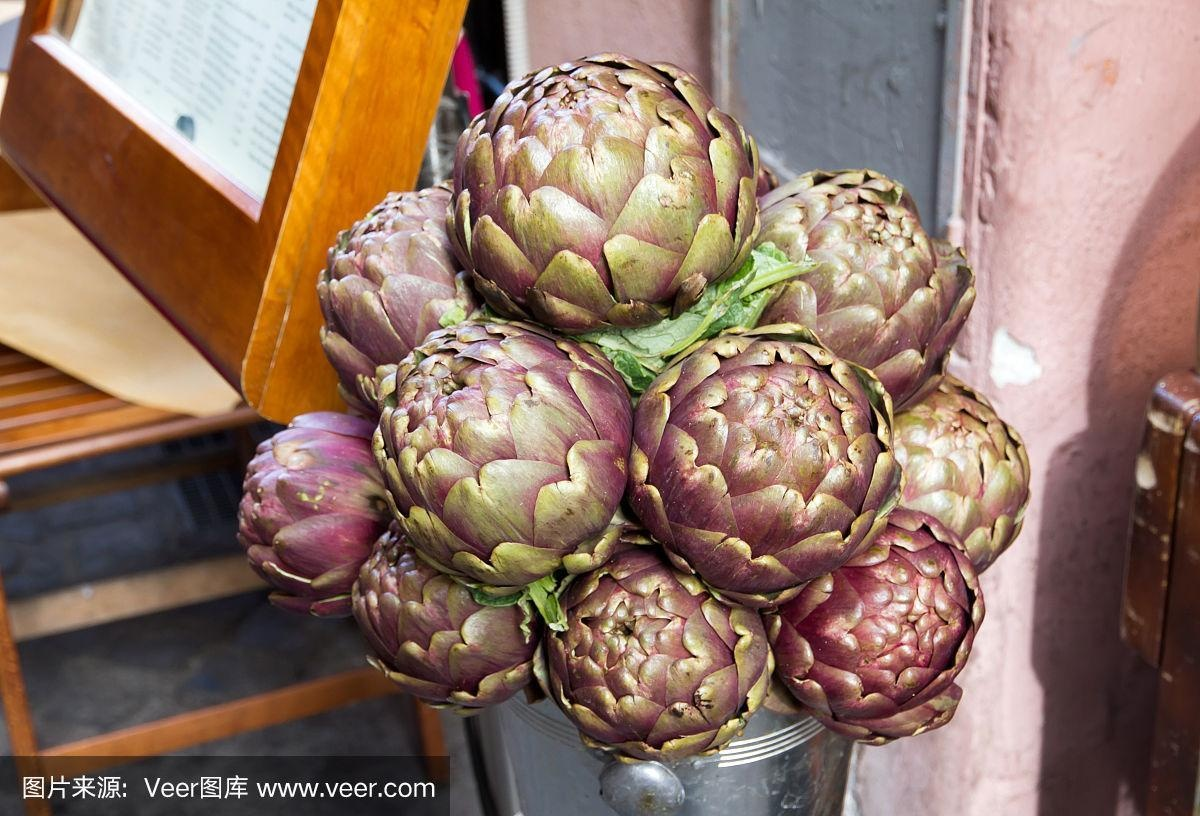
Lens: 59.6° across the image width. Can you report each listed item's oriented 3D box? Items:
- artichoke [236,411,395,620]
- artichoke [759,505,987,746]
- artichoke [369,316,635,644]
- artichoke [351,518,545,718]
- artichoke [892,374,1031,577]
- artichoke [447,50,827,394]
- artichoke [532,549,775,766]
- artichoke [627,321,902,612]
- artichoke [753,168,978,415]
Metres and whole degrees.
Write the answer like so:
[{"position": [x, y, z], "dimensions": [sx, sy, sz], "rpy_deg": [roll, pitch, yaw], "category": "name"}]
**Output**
[{"position": [-0.301, 0.093, 0.975], "dimensions": [0.196, 0.107, 0.125], "rpy_deg": [5, 51, -24], "category": "artichoke"}, {"position": [0.233, 0.191, 0.958], "dimensions": [0.164, 0.201, 0.178], "rpy_deg": [16, 19, 2], "category": "artichoke"}, {"position": [-0.055, 0.049, 0.890], "dimensions": [0.175, 0.210, 0.232], "rpy_deg": [-20, 79, 8], "category": "artichoke"}, {"position": [-0.126, 0.163, 0.949], "dimensions": [0.163, 0.131, 0.166], "rpy_deg": [-4, 6, 42], "category": "artichoke"}, {"position": [0.313, 0.072, 1.018], "dimensions": [0.137, 0.169, 0.181], "rpy_deg": [3, 82, 13], "category": "artichoke"}, {"position": [0.020, -0.177, 0.897], "dimensions": [0.270, 0.239, 0.228], "rpy_deg": [33, 73, 24], "category": "artichoke"}, {"position": [0.060, 0.237, 0.902], "dimensions": [0.200, 0.157, 0.211], "rpy_deg": [-7, 45, 18], "category": "artichoke"}, {"position": [0.132, 0.024, 0.893], "dimensions": [0.214, 0.196, 0.215], "rpy_deg": [3, 75, -10], "category": "artichoke"}, {"position": [0.222, -0.092, 0.987], "dimensions": [0.175, 0.213, 0.215], "rpy_deg": [-11, 79, 5], "category": "artichoke"}]
